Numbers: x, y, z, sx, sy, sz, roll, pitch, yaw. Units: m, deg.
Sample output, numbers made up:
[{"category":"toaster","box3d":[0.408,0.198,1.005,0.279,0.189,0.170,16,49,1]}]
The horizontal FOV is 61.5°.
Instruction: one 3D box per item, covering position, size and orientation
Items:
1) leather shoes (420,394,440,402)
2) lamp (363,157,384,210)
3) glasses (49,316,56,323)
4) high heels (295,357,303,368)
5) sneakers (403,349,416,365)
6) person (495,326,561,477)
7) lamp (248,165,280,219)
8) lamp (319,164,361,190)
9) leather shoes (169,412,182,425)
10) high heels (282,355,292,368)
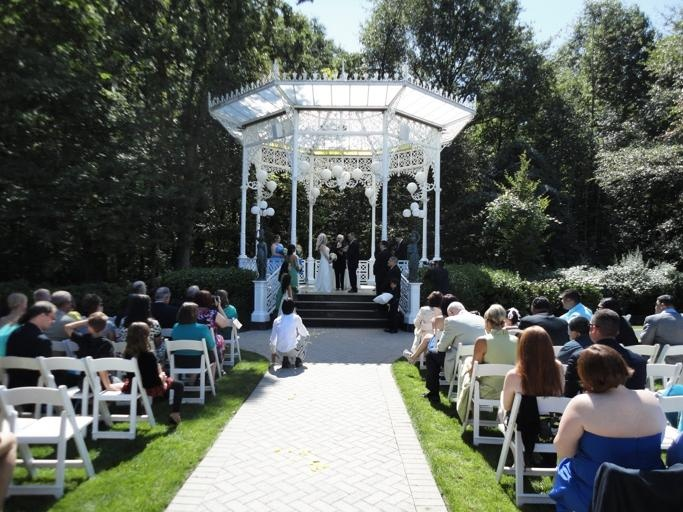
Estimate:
[{"category":"leather shoes","box3d":[1.453,2.304,9.438,0.277,0.127,0.099,7,3,30]},{"category":"lamp","box3d":[1.111,-2.535,20.863,0.641,1.560,0.600,-17,-21,34]},{"category":"glasses","box3d":[-4.194,0.924,8.243,0.070,0.091,0.103,1,-43,-11]},{"category":"high heels","box3d":[-0.857,2.084,11.224,0.124,0.180,0.179,6,40,4]},{"category":"sneakers","box3d":[1.304,1.938,10.997,0.124,0.170,0.400,-2,12,-2]},{"category":"person","box3d":[2.431,1.753,7.460,0.833,1.861,0.911,-8,17,-10]},{"category":"lamp","box3d":[-2.598,-1.865,19.162,0.744,2.085,0.673,10,-14,-28]},{"category":"lamp","box3d":[-0.017,-2.748,20.063,1.310,0.939,2.345,-1,8,1]},{"category":"leather shoes","box3d":[-2.457,2.395,8.458,0.104,0.159,0.223,3,-25,23]},{"category":"high heels","box3d":[-1.092,2.070,11.160,0.194,0.234,0.135,2,-4,3]}]
